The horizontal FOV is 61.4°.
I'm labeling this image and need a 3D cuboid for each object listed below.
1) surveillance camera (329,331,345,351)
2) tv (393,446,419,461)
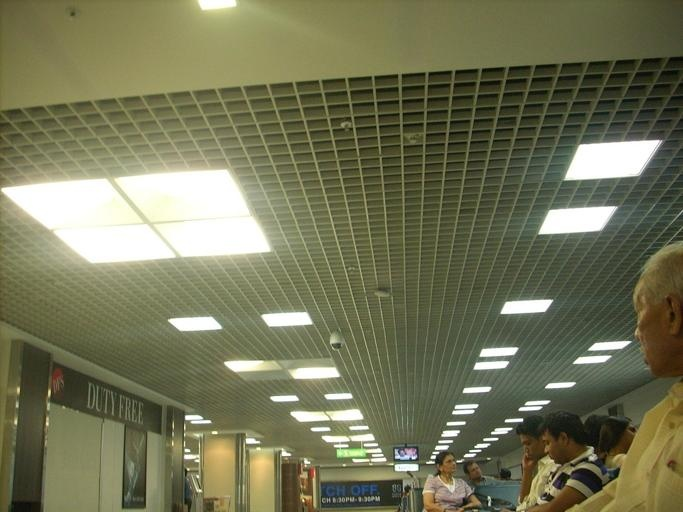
[{"bbox_3d":[-0.076,1.231,8.507,0.170,0.253,0.358,-2,-26,-3],"label":"surveillance camera"},{"bbox_3d":[2.641,8.113,23.436,0.749,0.480,0.109,-1,-25,6],"label":"tv"}]
